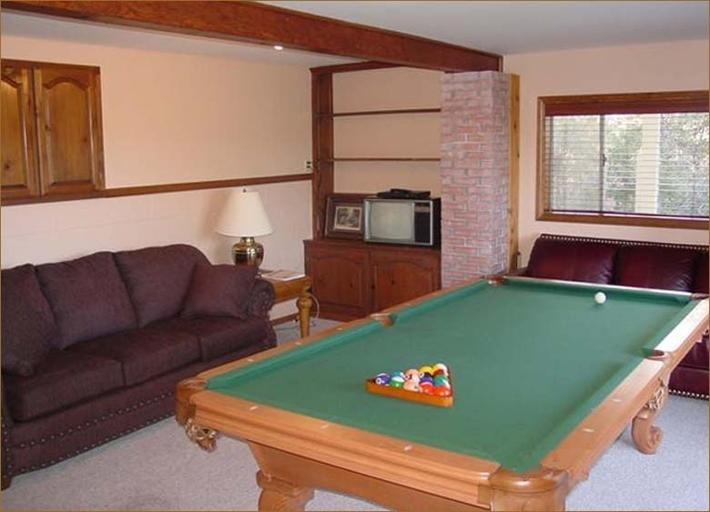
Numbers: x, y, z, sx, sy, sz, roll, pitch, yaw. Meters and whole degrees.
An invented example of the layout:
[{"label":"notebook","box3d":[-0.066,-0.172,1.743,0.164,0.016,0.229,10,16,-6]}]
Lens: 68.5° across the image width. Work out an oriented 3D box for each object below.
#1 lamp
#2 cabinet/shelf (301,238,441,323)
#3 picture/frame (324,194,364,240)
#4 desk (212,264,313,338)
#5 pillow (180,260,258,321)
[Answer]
[{"label":"lamp","box3d":[-1.120,-0.267,5.300,0.514,0.807,0.505,5,9,39]},{"label":"cabinet/shelf","box3d":[0.170,0.227,6.005,2.062,1.215,0.939,4,9,34]},{"label":"picture/frame","box3d":[-0.128,-0.474,6.444,0.610,0.489,0.061,5,-2,32]},{"label":"desk","box3d":[-0.877,0.314,5.207,0.779,0.724,0.976,7,11,33]},{"label":"pillow","box3d":[-1.174,0.299,4.561,0.538,0.453,0.154,7,-22,4]}]
